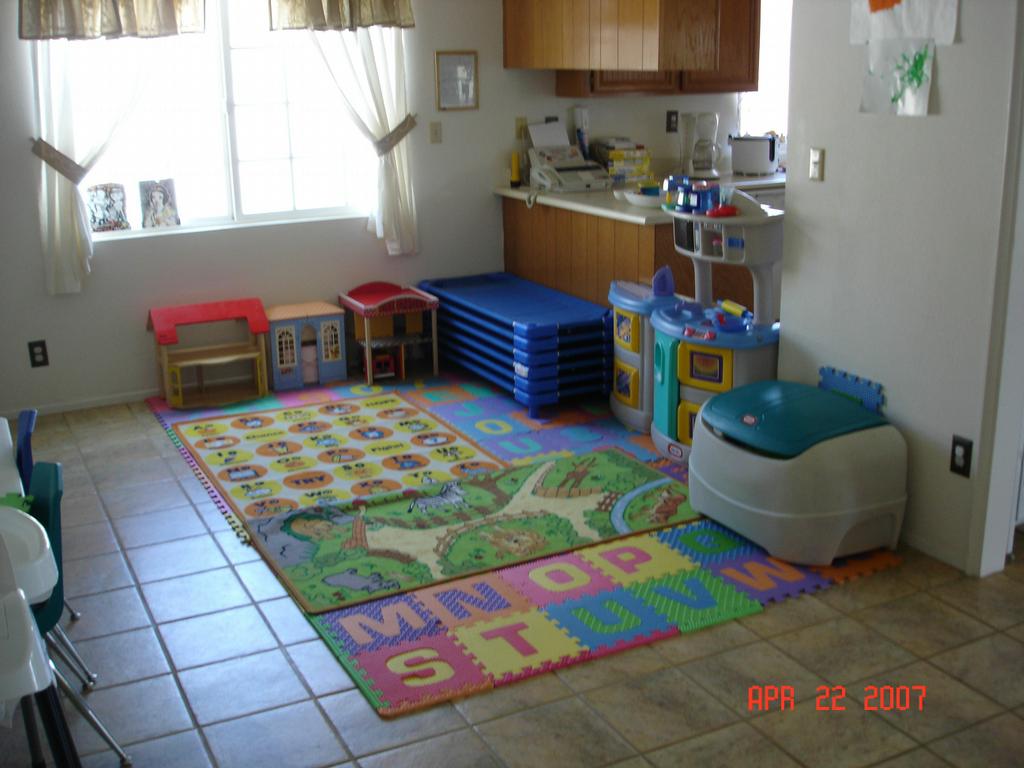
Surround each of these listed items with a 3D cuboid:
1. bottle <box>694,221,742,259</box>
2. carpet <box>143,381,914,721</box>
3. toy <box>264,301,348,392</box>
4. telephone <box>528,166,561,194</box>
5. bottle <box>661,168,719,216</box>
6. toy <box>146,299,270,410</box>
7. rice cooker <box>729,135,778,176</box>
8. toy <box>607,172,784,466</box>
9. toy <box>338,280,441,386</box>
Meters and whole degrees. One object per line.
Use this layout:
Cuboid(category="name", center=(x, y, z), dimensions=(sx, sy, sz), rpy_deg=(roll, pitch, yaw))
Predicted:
Cuboid(category="bottle", center=(0.994, -0.688, 3.652), dimensions=(0.148, 0.202, 0.281), rpy_deg=(-7, 17, -22))
Cuboid(category="carpet", center=(-0.351, 0.426, 3.954), dimensions=(2.257, 0.108, 3.742), rpy_deg=(-16, 24, -31))
Cuboid(category="toy", center=(-1.408, -0.237, 5.215), dimensions=(0.467, 0.483, 0.341), rpy_deg=(-7, 11, -23))
Cuboid(category="telephone", center=(0.228, -1.423, 5.292), dimensions=(0.153, 0.145, 0.275), rpy_deg=(-6, 21, -10))
Cuboid(category="bottle", center=(0.919, -0.966, 3.860), dimensions=(0.257, 0.155, 0.590), rpy_deg=(0, 21, 8))
Cuboid(category="toy", center=(-1.974, -0.275, 5.104), dimensions=(0.817, 0.775, 0.545), rpy_deg=(-11, 25, -29))
Cuboid(category="rice cooker", center=(1.760, -1.657, 5.542), dimensions=(0.313, 0.304, 0.253), rpy_deg=(0, 12, 0))
Cuboid(category="toy", center=(0.974, -0.313, 4.021), dimensions=(0.530, 1.375, 1.042), rpy_deg=(-8, 20, -23))
Cuboid(category="toy", center=(-0.839, -0.356, 5.269), dimensions=(0.596, 0.604, 0.492), rpy_deg=(-13, 20, -42))
